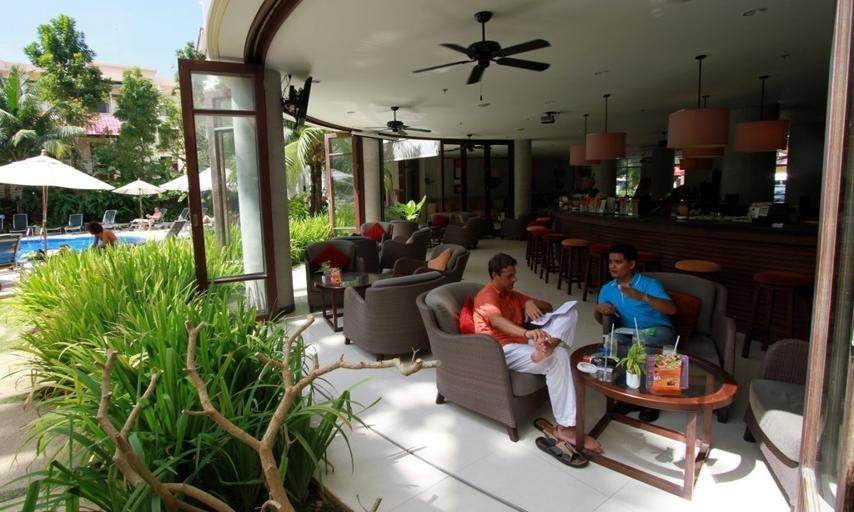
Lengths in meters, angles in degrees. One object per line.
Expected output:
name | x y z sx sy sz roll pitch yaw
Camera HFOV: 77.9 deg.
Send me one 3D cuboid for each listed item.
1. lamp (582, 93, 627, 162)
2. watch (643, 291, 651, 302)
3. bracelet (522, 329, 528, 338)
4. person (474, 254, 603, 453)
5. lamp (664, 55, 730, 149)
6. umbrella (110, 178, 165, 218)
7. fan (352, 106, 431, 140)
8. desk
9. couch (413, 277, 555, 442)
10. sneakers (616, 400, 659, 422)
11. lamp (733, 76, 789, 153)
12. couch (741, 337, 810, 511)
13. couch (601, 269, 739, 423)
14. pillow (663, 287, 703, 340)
lamp | 3.558 -2.537 10.689 0.636 1.176 2.861 0 8 17
watch | 2.311 0.435 5.573 0.051 0.089 0.087 1 9 23
bracelet | 0.938 0.749 5.125 0.065 0.020 0.074 1 47 -2
person | 1.060 0.910 5.353 0.932 1.705 1.296 -10 10 -29
lamp | 3.975 -2.350 7.770 0.819 1.408 0.815 3 7 28
umbrella | -8.109 -1.387 14.932 1.177 1.027 1.152 3 5 -10
fan | -0.669 -2.834 10.943 1.420 0.482 1.313 8 8 41
desk | 2.144 1.534 5.182 1.458 0.896 1.380 8 14 36
couch | 0.515 0.982 5.748 1.522 1.279 1.189 8 15 35
sneakers | 2.127 1.582 5.431 0.500 0.200 0.179 3 25 15
lamp | 5.385 -2.332 8.577 0.649 1.253 2.186 2 9 30
couch | 3.084 1.457 4.731 0.444 1.297 0.923 4 10 35
couch | 2.711 0.905 5.633 0.851 1.136 0.983 -1 19 16
pillow | 2.779 0.636 5.691 0.414 0.423 0.172 3 3 21
